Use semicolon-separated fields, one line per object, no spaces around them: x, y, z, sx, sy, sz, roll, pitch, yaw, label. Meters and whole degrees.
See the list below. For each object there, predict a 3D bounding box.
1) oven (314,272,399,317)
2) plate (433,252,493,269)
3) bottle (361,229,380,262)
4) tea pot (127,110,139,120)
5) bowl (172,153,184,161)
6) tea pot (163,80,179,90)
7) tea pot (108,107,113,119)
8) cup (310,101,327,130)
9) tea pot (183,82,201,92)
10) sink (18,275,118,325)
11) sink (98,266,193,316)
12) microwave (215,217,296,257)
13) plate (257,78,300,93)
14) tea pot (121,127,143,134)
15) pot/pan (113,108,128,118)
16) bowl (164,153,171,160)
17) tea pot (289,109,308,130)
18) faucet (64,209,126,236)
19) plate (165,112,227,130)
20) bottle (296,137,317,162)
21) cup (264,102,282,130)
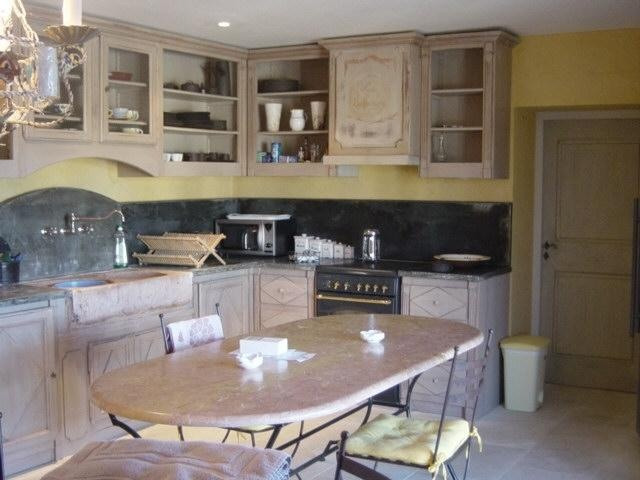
0.319;0.460;4.718;0.630;0.574;0.407;-1;-3;23;oven
1.264;0.185;4.811;0.498;0.088;0.634;4;11;17;plate
0.496;0.052;5.277;0.176;0.308;0.300;2;10;4;bottle
-1.550;-1.033;4.482;0.083;0.059;0.077;3;8;0;tea pot
-1.317;-0.757;4.989;0.091;0.074;0.260;-1;10;-15;bowl
-1.343;-1.383;4.856;0.148;0.075;0.100;2;2;-29;tea pot
-1.678;-1.006;4.316;0.043;0.070;0.066;2;4;-10;tea pot
-0.020;-1.231;5.376;0.167;0.277;0.272;1;10;-2;cup
-1.193;-1.412;5.009;0.062;0.104;0.233;7;12;27;tea pot
-1.798;0.403;3.917;0.474;0.165;0.362;4;7;35;sink
-1.425;0.383;4.282;0.386;0.147;0.418;4;6;32;sink
-0.573;-0.045;5.517;0.644;0.371;0.447;1;2;27;microwave
-0.415;-1.536;5.390;0.414;0.157;0.187;1;10;-3;plate
-1.560;-0.901;4.489;0.101;0.036;0.063;1;-3;-23;tea pot
-1.619;-1.017;4.367;0.088;0.061;0.089;0;6;-8;pot/pan
-1.375;-0.754;4.881;0.059;0.080;0.048;1;4;20;bowl
-0.240;-1.175;5.366;0.217;0.206;0.162;1;-2;-16;tea pot
-1.888;-0.146;4.577;0.466;0.177;0.133;-5;11;-41;faucet
-1.202;-1.129;5.112;0.261;0.182;0.702;8;12;31;plate
-0.122;-0.905;5.483;0.239;0.258;0.254;3;5;22;bottle
-0.469;-1.217;5.402;0.145;0.283;0.175;-1;11;-11;cup
